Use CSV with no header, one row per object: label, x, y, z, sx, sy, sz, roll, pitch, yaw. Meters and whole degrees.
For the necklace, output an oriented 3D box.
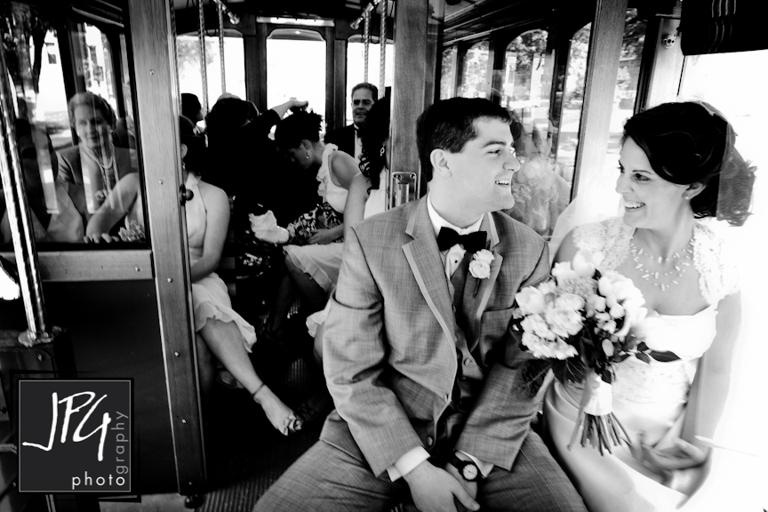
necklace,1.217,0.039,2.521,0.258,0.294,0.048,2,-15,12
